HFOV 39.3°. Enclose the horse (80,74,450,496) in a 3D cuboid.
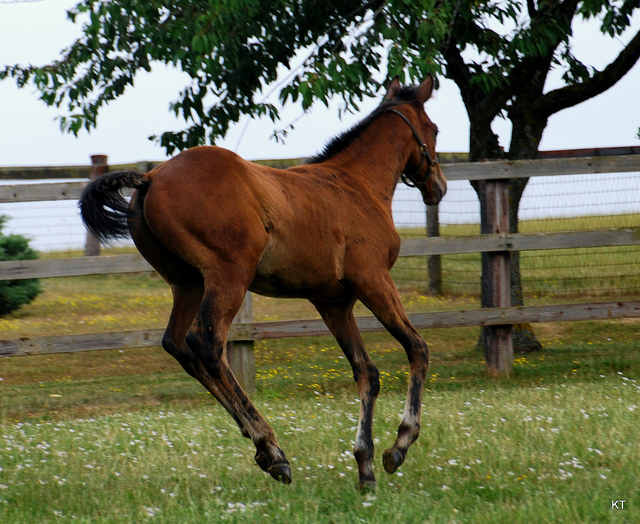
[{"bbox_3d":[-0.227,-0.130,7.345,4.128,3.280,1.045,0,-9,-43],"label":"horse"}]
